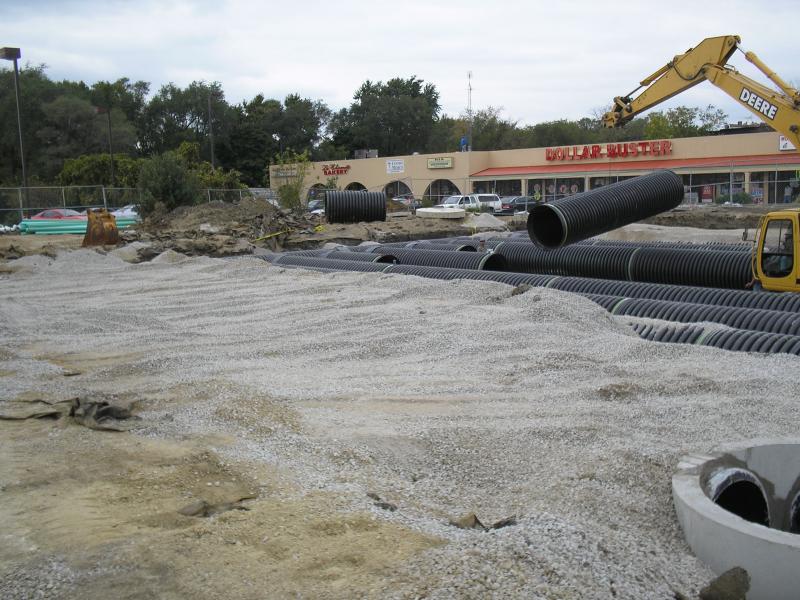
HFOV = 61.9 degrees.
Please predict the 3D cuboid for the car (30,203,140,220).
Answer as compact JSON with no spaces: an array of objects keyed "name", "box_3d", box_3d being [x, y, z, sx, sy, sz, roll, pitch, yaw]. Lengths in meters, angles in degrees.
[{"name":"car","box_3d":[-14.703,-4.093,31.201,3.483,0.736,2.038,-5,7,-22]}]
